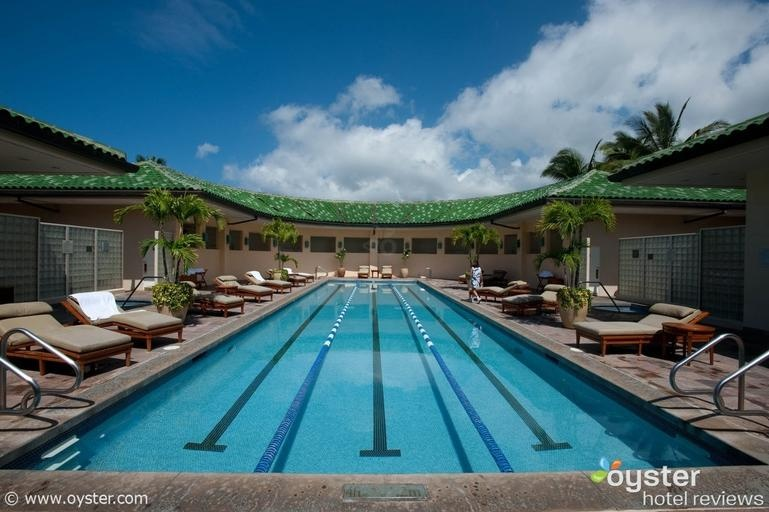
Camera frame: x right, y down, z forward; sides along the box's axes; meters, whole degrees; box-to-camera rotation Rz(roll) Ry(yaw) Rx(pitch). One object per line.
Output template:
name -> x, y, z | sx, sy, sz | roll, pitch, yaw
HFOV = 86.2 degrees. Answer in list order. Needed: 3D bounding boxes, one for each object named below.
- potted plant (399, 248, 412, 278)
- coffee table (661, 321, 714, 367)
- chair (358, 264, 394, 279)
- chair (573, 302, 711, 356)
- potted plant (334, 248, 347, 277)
potted plant -> 1.246, 0.363, 25.535 | 0.631, 1.880, 0.763 | -1, 0, 27
coffee table -> 6.261, 1.811, 8.671 | 1.045, 0.650, 0.927 | 0, -7, -6
chair -> -0.557, 0.930, 25.248 | 2.056, 0.783, 1.092 | -1, 0, 8
chair -> 5.485, 1.553, 9.003 | 2.373, 0.937, 1.281 | 0, -5, 2
potted plant -> -2.689, 0.332, 25.410 | 0.678, 1.226, 0.956 | -1, 0, 2
